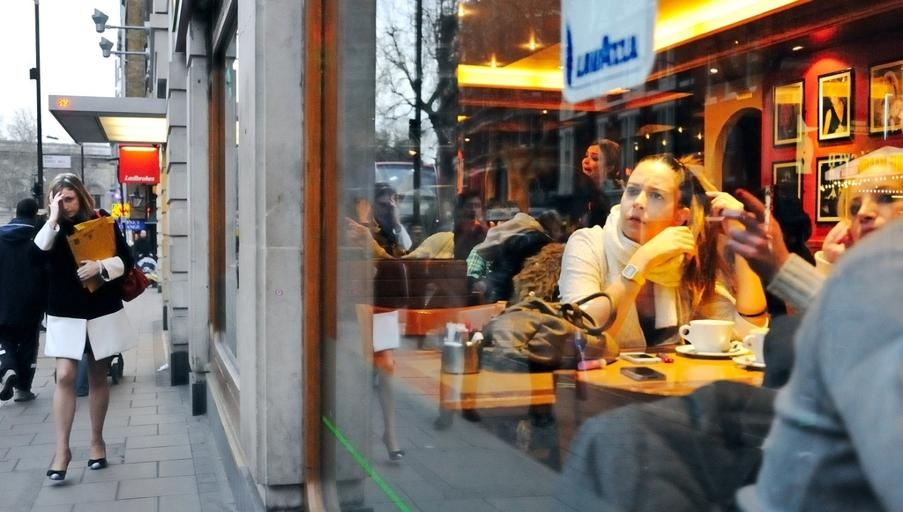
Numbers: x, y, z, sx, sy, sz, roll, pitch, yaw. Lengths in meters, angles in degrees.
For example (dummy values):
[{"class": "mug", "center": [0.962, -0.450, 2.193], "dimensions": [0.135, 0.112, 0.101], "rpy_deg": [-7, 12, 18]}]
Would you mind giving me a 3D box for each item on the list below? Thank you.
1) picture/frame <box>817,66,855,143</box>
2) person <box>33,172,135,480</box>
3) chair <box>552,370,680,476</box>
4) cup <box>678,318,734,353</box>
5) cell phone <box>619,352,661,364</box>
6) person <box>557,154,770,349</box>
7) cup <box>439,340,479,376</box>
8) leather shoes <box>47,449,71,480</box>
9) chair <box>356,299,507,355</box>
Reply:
[{"class": "picture/frame", "center": [0.887, -0.346, 1.690], "dimensions": [0.071, 0.168, 0.157], "rpy_deg": [2, 3, 25]}, {"class": "person", "center": [-2.852, 0.538, 5.738], "dimensions": [0.652, 2.363, 0.479], "rpy_deg": [-2, 4, -45]}, {"class": "chair", "center": [0.447, 0.535, 2.428], "dimensions": [0.270, 0.289, 0.627], "rpy_deg": [0, 3, -7]}, {"class": "cup", "center": [0.878, 0.279, 2.505], "dimensions": [0.106, 0.063, 0.132], "rpy_deg": [2, -4, -42]}, {"class": "cell phone", "center": [0.681, 0.364, 2.618], "dimensions": [0.104, 0.022, 0.184], "rpy_deg": [0, 3, -17]}, {"class": "person", "center": [0.713, -0.015, 2.419], "dimensions": [0.587, 0.393, 0.719], "rpy_deg": [8, -31, 26]}, {"class": "cup", "center": [0.039, 0.422, 3.052], "dimensions": [0.147, 0.093, 0.145], "rpy_deg": [1, -1, 0]}, {"class": "leather shoes", "center": [-2.990, 1.612, 5.617], "dimensions": [0.110, 0.076, 0.388], "rpy_deg": [4, 10, -12]}, {"class": "chair", "center": [-0.069, 0.322, 3.326], "dimensions": [0.609, 0.207, 0.211], "rpy_deg": [4, -9, 40]}]
